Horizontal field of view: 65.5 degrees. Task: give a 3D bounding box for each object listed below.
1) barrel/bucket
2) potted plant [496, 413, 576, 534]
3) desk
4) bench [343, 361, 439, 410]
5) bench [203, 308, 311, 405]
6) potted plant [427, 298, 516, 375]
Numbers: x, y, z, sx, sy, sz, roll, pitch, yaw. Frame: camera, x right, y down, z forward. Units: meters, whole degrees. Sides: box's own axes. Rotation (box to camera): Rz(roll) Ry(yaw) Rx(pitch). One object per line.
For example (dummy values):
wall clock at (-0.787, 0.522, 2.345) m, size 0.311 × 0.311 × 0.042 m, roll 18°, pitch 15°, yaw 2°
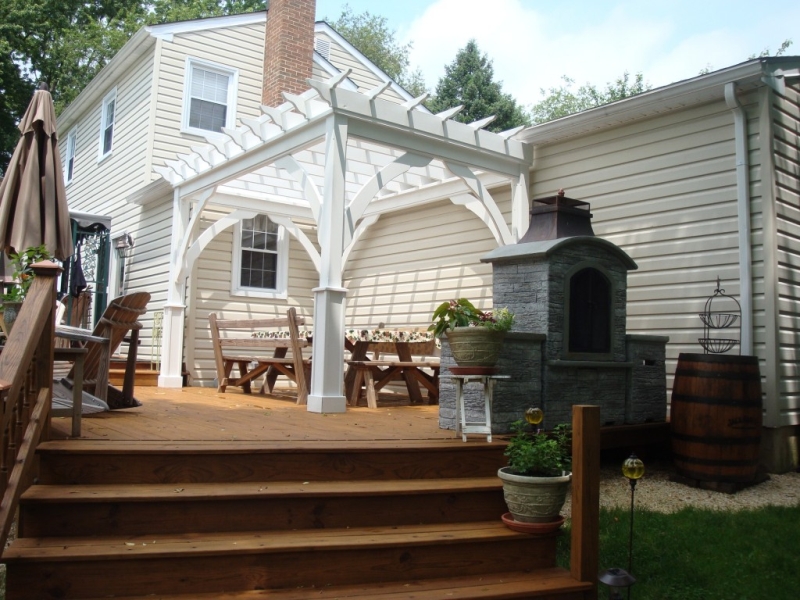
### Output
barrel/bucket at (2.865, 1.103, 5.634) m, size 0.734 × 1.219 × 0.409 m, roll -2°, pitch -8°, yaw 22°
potted plant at (0.881, 1.152, 4.070) m, size 0.455 × 0.683 × 0.321 m, roll 0°, pitch -7°, yaw 8°
desk at (-0.578, 0.959, 8.813) m, size 2.505 × 0.899 × 3.607 m, roll 0°, pitch -6°, yaw 10°
bench at (-0.018, 1.052, 8.060) m, size 1.134 × 0.406 × 0.511 m, roll 8°, pitch -5°, yaw -6°
bench at (-1.658, 0.779, 8.374) m, size 0.994 × 1.073 × 2.320 m, roll 13°, pitch -11°, yaw -39°
potted plant at (0.596, 0.294, 5.168) m, size 0.707 × 0.538 × 0.644 m, roll -2°, pitch 1°, yaw 37°
